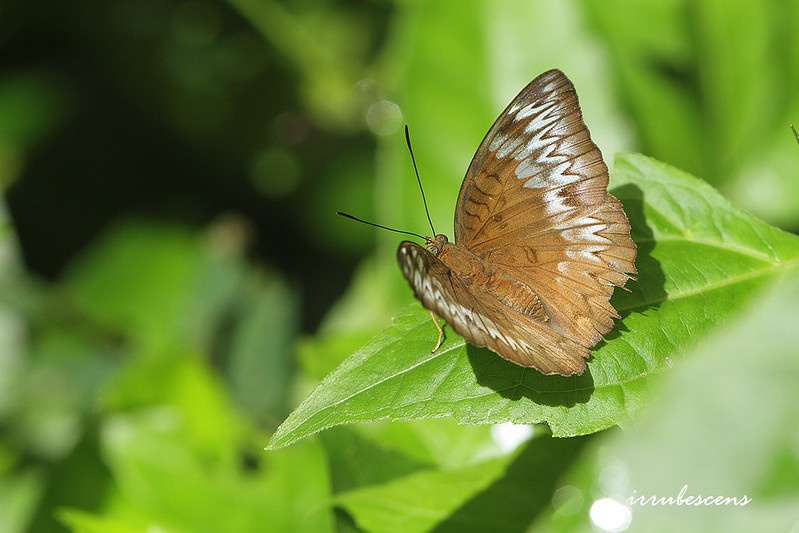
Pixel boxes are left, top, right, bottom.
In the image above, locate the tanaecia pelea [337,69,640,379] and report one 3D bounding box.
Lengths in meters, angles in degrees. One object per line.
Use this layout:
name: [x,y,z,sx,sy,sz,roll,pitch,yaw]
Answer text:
tanaecia pelea: [0.604,-0.159,3.916,1.026,1.262,0.812,-21,8,13]
